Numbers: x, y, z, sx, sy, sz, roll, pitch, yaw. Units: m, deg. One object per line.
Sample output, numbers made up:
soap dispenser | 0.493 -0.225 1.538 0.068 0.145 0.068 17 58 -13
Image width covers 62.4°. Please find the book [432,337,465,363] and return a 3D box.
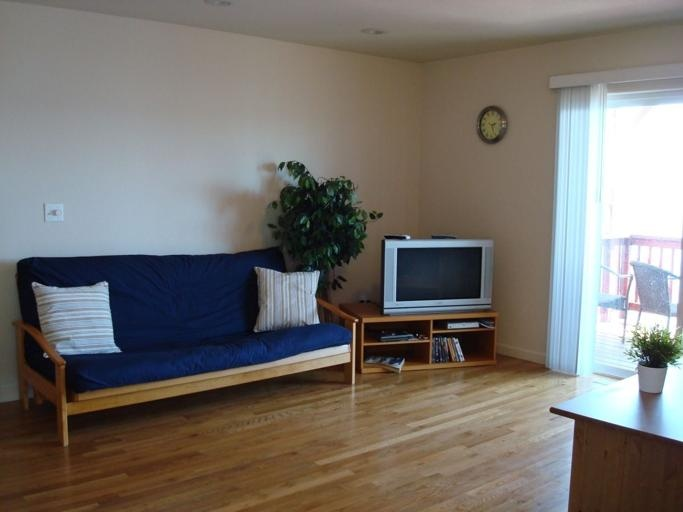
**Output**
book | 0.987 0.857 5.217 0.337 0.229 0.118 -1 12 -9

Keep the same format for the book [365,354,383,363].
book | 0.293 0.941 5.136 0.148 0.015 0.165 3 12 9

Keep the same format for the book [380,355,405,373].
book | 0.483 0.972 5.160 0.195 0.083 0.309 3 12 13

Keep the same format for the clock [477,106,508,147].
clock | 1.469 -1.255 5.458 0.065 0.390 0.387 -5 -5 -35

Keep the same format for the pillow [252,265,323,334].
pillow | -0.462 0.365 4.819 0.561 0.520 0.198 0 3 -20

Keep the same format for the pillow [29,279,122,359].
pillow | -1.922 0.464 4.127 0.304 0.520 0.538 2 -1 37

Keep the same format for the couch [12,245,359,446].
couch | -1.260 0.538 4.410 2.237 1.083 1.112 -6 14 -30

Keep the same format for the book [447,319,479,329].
book | 1.120 0.628 5.228 0.324 0.053 0.134 -1 12 -10
